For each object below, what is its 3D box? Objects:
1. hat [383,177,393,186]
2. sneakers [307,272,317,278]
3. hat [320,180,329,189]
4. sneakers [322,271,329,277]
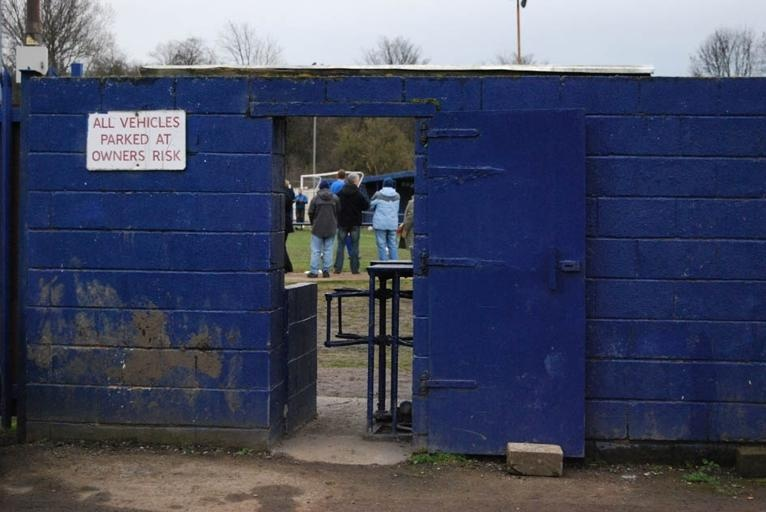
[{"bbox_3d":[0.075,-1.209,20.880,0.116,0.143,0.159,1,-33,5],"label":"hat"},{"bbox_3d":[-1.178,0.300,21.022,0.164,0.072,0.076,5,3,19],"label":"sneakers"},{"bbox_3d":[-0.934,-1.147,20.394,0.146,0.150,0.108,0,3,-20],"label":"hat"},{"bbox_3d":[-0.945,0.289,21.157,0.074,0.100,0.128,-6,-3,-3],"label":"sneakers"}]
